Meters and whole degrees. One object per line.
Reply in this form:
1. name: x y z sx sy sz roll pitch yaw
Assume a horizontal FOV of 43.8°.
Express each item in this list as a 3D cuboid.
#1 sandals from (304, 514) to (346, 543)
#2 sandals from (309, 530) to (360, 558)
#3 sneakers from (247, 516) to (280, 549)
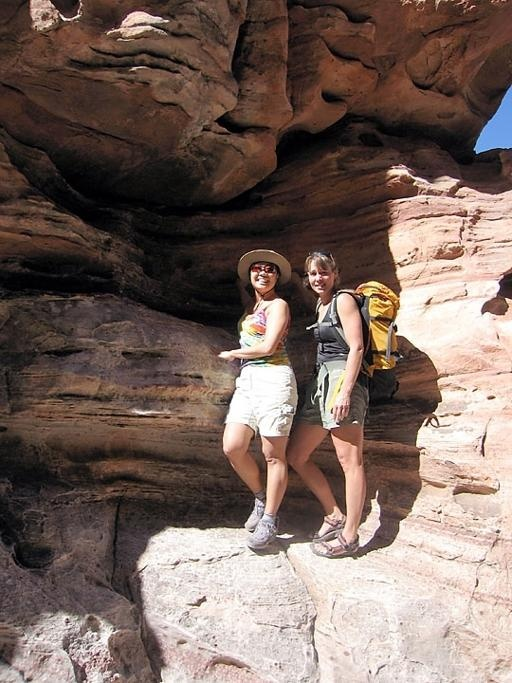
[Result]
1. sandals: 0.494 1.270 4.367 0.322 0.116 0.102 -20 -2 -18
2. sandals: 0.519 1.350 4.246 0.338 0.115 0.162 -1 16 3
3. sneakers: 0.063 1.237 4.192 0.133 0.135 0.321 10 10 28
